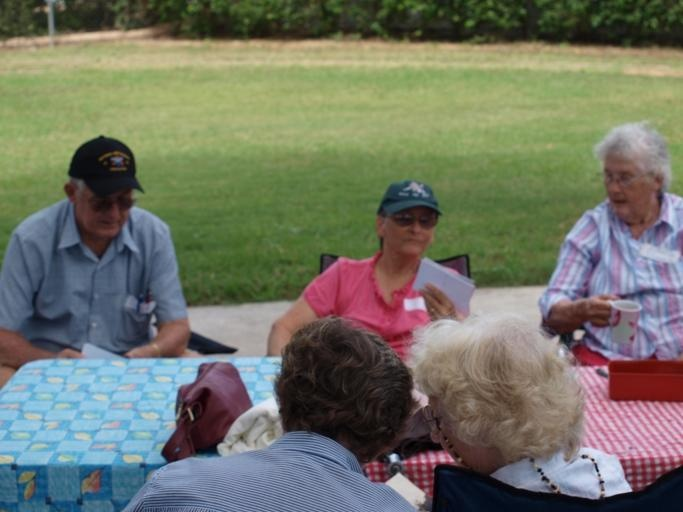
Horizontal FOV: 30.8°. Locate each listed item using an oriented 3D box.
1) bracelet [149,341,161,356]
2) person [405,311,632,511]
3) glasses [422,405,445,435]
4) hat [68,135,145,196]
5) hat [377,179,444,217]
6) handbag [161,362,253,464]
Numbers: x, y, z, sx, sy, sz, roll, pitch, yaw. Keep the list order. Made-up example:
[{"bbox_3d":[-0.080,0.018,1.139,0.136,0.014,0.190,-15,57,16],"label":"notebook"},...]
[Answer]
[{"bbox_3d":[-1.501,0.749,9.905,0.082,0.088,0.084,8,-5,-27],"label":"bracelet"},{"bbox_3d":[1.254,1.150,9.000,1.425,1.389,1.119,0,9,25],"label":"person"},{"bbox_3d":[0.649,1.161,8.828,0.149,0.161,0.048,10,-18,-43],"label":"glasses"},{"bbox_3d":[-1.916,-0.725,9.985,0.560,0.424,0.358,-3,14,-18],"label":"hat"},{"bbox_3d":[0.563,-0.458,10.112,0.479,0.328,0.655,2,-1,-6],"label":"hat"},{"bbox_3d":[-1.004,1.130,9.056,0.673,0.529,0.275,-35,-40,9],"label":"handbag"}]
